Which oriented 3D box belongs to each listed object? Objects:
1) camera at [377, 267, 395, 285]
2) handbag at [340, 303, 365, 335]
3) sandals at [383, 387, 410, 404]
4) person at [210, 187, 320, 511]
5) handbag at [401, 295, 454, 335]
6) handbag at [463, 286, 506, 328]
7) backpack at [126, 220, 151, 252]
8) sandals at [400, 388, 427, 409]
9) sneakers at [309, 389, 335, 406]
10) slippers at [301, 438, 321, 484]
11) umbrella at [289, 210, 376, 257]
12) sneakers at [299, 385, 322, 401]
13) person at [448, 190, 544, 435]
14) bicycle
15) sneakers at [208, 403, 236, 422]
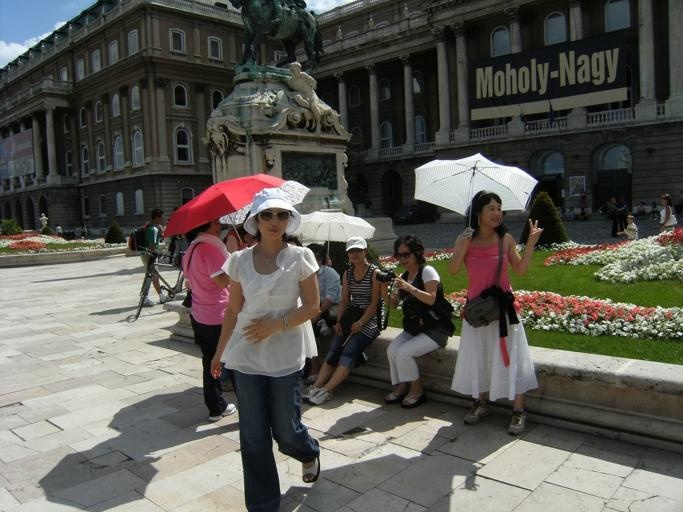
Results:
[{"bbox_3d":[0.468,0.213,5.561,0.164,0.103,0.152,0,0,-26],"label":"camera"},{"bbox_3d":[0.130,0.750,6.169,0.275,0.395,0.143,13,-16,44],"label":"handbag"},{"bbox_3d":[0.610,1.566,5.878,0.250,0.083,0.136,0,0,-28],"label":"sandals"},{"bbox_3d":[-0.560,0.725,4.136,0.782,2.493,0.552,-4,6,-16],"label":"person"},{"bbox_3d":[0.973,0.626,5.882,0.520,0.496,0.376,-4,10,24],"label":"handbag"},{"bbox_3d":[1.340,0.448,4.916,0.293,0.194,0.398,-29,6,6],"label":"handbag"},{"bbox_3d":[-4.534,-0.413,11.570,0.642,0.690,0.488,1,1,-21],"label":"backpack"},{"bbox_3d":[0.800,1.566,5.722,0.255,0.102,0.134,-2,-1,-26],"label":"sandals"},{"bbox_3d":[-0.231,1.600,5.972,0.109,0.122,0.289,-6,-8,41],"label":"sneakers"},{"bbox_3d":[-0.253,1.698,4.282,0.148,0.386,0.092,-2,-25,12],"label":"slippers"},{"bbox_3d":[-0.147,-0.313,7.324,1.042,0.358,1.050,3,-9,-7],"label":"umbrella"},{"bbox_3d":[-0.347,1.590,6.105,0.146,0.186,0.409,-5,-16,19],"label":"sneakers"},{"bbox_3d":[1.484,0.525,5.092,0.851,2.311,0.503,-2,6,12],"label":"person"},{"bbox_3d":[-4.235,0.499,11.698,1.001,1.268,2.071,1,0,13],"label":"bicycle"},{"bbox_3d":[-1.317,1.693,5.730,0.110,0.122,0.282,5,11,28],"label":"sneakers"}]
